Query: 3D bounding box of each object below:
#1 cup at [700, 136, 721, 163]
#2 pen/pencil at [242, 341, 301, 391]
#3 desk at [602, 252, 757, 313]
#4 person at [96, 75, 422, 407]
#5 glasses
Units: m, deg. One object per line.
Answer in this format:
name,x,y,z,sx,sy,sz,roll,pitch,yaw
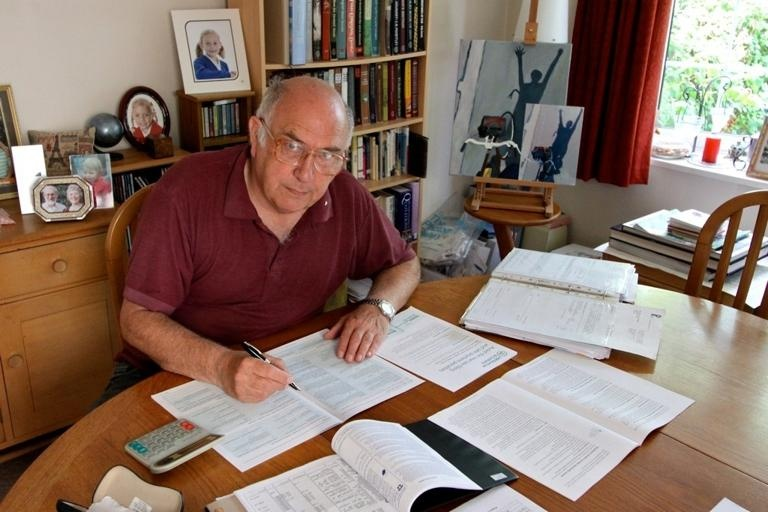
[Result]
cup,1.998,-0.649,3.064,0.084,0.152,0.100,13,27,29
pen/pencil,-0.284,0.286,1.267,0.132,0.022,0.019,43,55,12
desk,1.559,0.260,2.565,0.291,0.332,0.535,-11,27,-26
person,-0.425,0.060,1.677,0.826,1.172,0.778,-7,29,-29
glasses,-0.237,-0.318,1.473,0.252,0.159,0.114,-2,24,-4
